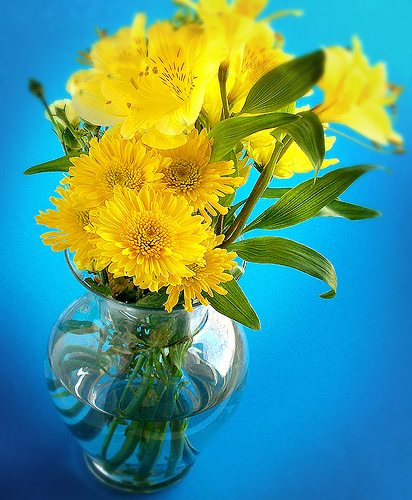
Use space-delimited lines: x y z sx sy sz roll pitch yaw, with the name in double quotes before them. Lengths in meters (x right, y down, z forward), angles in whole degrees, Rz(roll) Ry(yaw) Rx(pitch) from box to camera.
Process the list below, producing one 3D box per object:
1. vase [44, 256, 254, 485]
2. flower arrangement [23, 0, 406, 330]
"vase" -0.078 0.152 0.597 0.220 0.205 0.230 11 -72 19
"flower arrangement" -0.011 -0.054 0.454 0.270 0.211 0.231 14 -73 2
